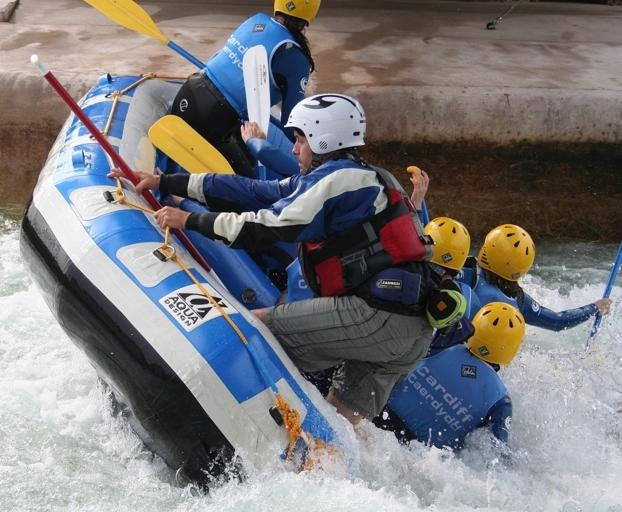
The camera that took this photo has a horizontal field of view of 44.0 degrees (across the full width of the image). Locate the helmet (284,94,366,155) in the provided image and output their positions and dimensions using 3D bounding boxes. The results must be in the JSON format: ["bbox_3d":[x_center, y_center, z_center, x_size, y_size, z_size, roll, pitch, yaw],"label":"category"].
[{"bbox_3d":[0.098,-0.676,3.958,0.428,0.255,0.293,-9,6,13],"label":"helmet"}]

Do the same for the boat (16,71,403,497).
[{"bbox_3d":[-0.753,0.373,4.004,0.865,1.344,1.692,-34,42,-21],"label":"boat"}]
